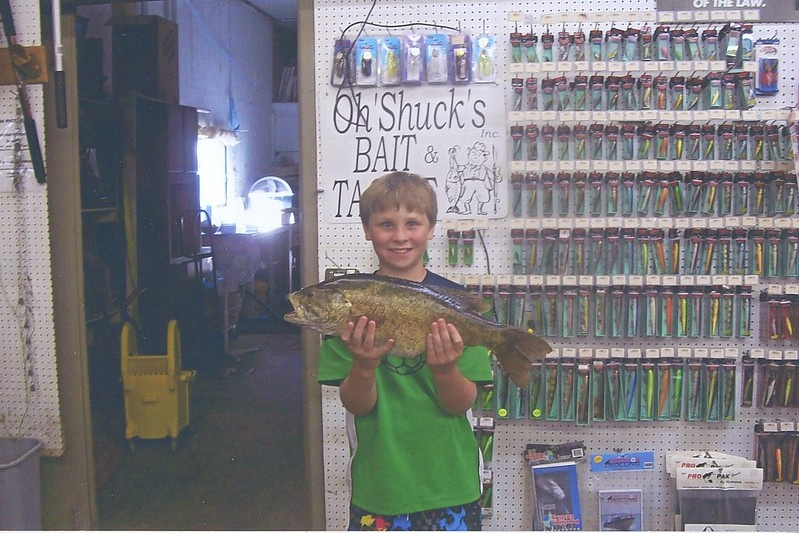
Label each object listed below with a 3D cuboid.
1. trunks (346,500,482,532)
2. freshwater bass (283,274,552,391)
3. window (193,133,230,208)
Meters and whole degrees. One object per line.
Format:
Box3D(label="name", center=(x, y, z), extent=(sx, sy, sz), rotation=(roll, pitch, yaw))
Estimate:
Box3D(label="trunks", center=(0.078, 1.478, 5.737), extent=(0.730, 0.157, 0.071), rotation=(0, 1, 1))
Box3D(label="freshwater bass", center=(0.193, 0.384, 5.819), extent=(1.441, 0.500, 0.331), rotation=(15, 13, -3))
Box3D(label="window", center=(-1.936, -1.044, 10.106), extent=(0.047, 0.456, 0.497), rotation=(-1, -5, 31))
